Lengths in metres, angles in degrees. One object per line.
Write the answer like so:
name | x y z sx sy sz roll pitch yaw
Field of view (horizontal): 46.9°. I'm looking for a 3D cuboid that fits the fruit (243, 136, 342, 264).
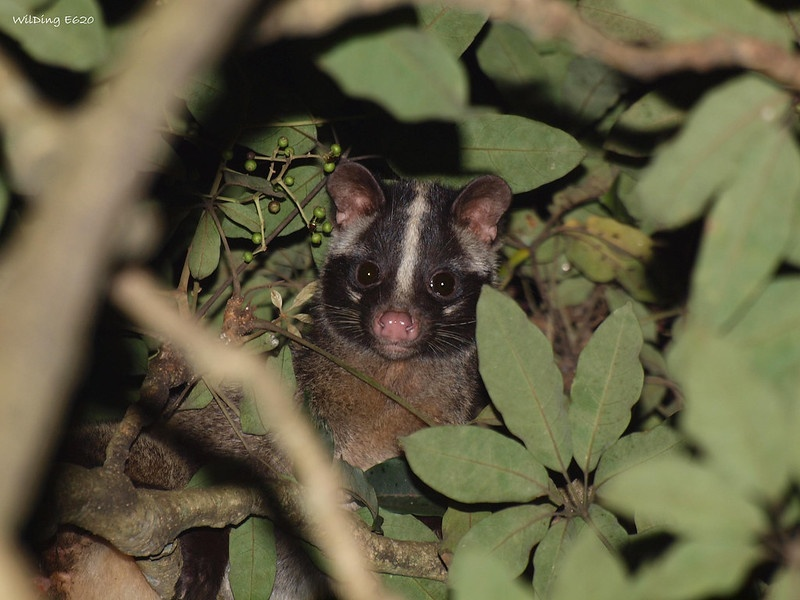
fruit | -0.351 -0.310 3.150 0.252 0.510 0.444 7 73 0
